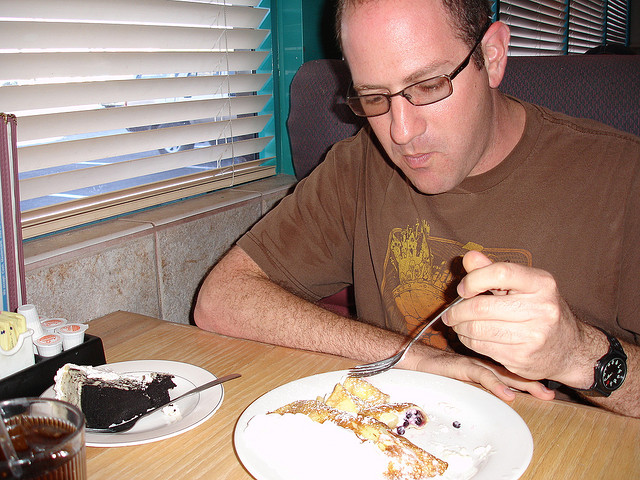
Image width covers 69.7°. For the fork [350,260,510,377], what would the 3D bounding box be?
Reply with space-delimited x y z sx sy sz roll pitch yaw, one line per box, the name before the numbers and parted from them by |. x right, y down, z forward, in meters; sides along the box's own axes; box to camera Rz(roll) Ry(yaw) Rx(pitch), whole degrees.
fork | 0.205 0.211 0.997 0.327 0.036 0.037 -31 12 -7

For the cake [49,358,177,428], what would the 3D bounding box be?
cake | -0.404 0.299 0.913 0.209 0.073 0.149 8 9 -28

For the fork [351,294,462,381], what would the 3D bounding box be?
fork | 0.234 0.253 1.186 0.306 0.045 0.035 -43 23 -9

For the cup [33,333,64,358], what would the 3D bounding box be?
cup | -0.582 0.224 0.988 0.049 0.034 0.047 2 3 0
